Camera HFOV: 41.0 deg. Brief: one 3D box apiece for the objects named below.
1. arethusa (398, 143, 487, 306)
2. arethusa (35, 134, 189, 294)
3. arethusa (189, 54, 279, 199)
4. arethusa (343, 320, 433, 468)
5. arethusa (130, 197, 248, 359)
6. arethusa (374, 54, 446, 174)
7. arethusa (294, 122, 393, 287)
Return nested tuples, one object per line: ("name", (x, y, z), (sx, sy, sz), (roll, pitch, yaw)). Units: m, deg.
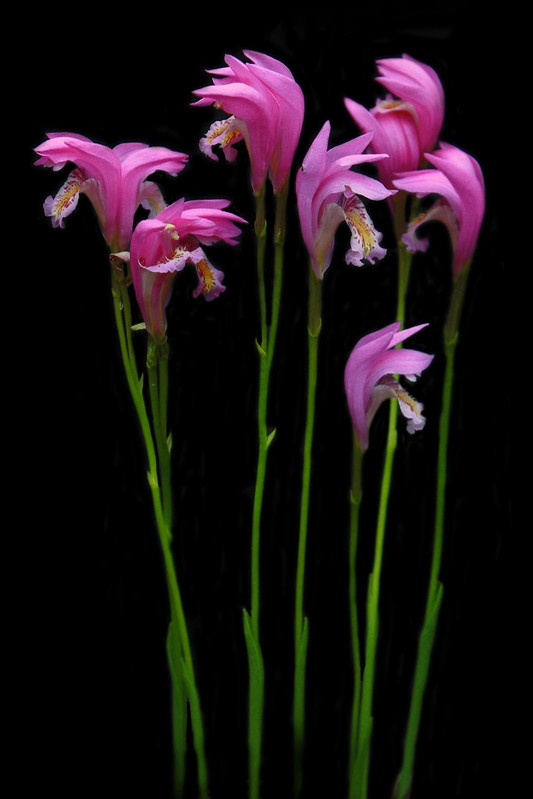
("arethusa", (0.263, -0.293, 1.070), (0.100, 0.240, 0.144), (11, 40, 21))
("arethusa", (-0.222, -0.297, 1.038), (0.218, 0.157, 0.078), (-2, 10, -31))
("arethusa", (-0.036, -0.382, 1.003), (0.079, 0.180, 0.085), (-1, 27, 25))
("arethusa", (0.171, -0.022, 1.027), (0.101, 0.249, 0.122), (9, 34, 15))
("arethusa", (-0.108, -0.175, 1.075), (0.153, 0.249, 0.165), (16, 39, 22))
("arethusa", (0.226, -0.469, 1.160), (0.099, 0.282, 0.127), (1, 17, 4))
("arethusa", (0.102, -0.274, 1.000), (0.122, 0.217, 0.170), (3, 10, -1))
